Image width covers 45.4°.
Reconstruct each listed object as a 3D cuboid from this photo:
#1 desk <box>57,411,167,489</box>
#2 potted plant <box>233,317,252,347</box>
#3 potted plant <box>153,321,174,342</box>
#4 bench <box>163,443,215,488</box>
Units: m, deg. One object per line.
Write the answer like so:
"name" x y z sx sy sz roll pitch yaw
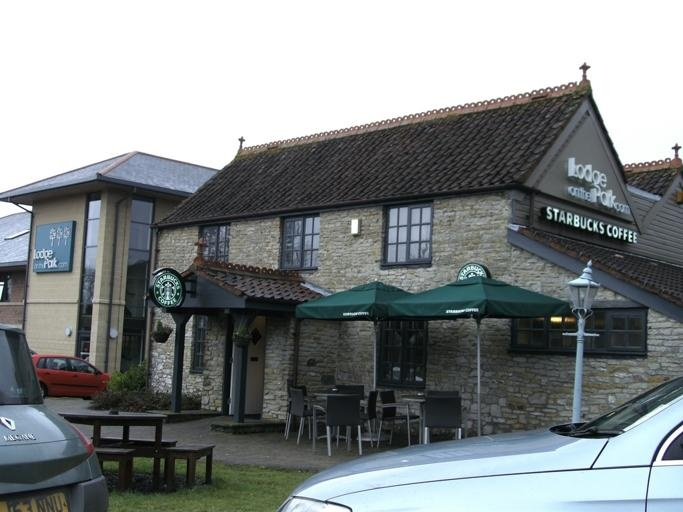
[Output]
"desk" -3.161 2.549 11.517 0.779 0.464 0.777 -13 1 25
"potted plant" -2.158 1.616 17.705 0.374 0.690 0.390 2 -12 -6
"potted plant" -5.105 2.163 22.921 0.703 0.607 0.621 2 -1 17
"bench" -2.186 2.976 11.681 0.492 0.424 0.675 3 -6 10
